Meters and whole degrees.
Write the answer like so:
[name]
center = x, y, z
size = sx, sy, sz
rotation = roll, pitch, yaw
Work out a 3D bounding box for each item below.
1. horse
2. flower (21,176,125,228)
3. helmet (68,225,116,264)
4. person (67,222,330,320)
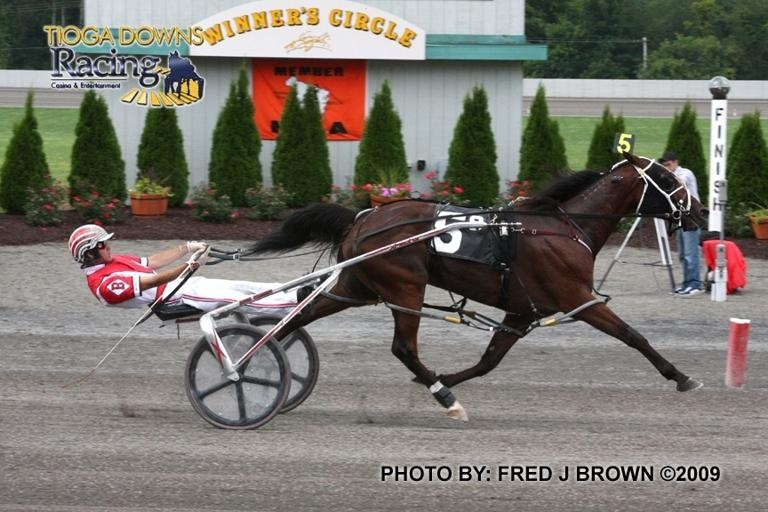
[horse]
center = 1.484, 0.251, 18.524
size = 7.024, 2.453, 1.258
rotation = -3, 2, 21
[flower]
center = -5.930, -1.037, 25.603
size = 1.867, 0.834, 1.295
rotation = -2, 9, -11
[helmet]
center = -3.939, -0.170, 17.992
size = 0.521, 0.510, 0.260
rotation = -2, 11, -5
[person]
center = -2.997, 0.139, 17.999
size = 2.345, 1.135, 0.780
rotation = -1, 10, -7
